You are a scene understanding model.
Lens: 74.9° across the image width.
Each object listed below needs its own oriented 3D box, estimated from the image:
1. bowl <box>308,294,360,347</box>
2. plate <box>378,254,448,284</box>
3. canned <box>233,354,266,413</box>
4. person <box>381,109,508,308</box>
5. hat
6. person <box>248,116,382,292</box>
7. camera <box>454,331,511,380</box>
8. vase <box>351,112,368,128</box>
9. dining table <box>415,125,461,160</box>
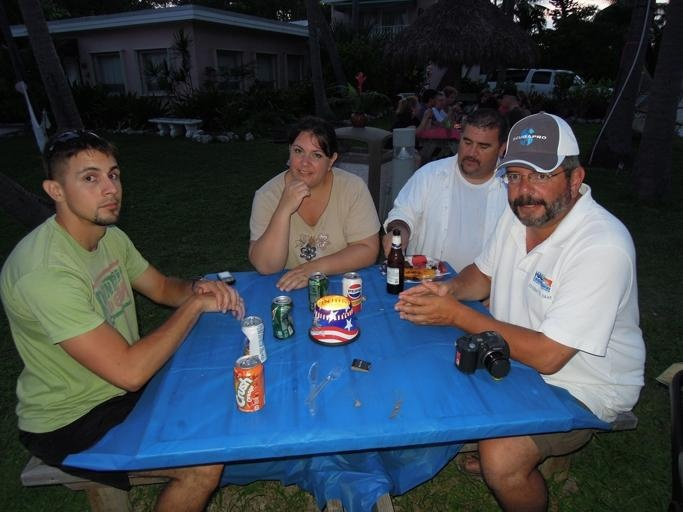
[{"bbox_3d":[-0.058,0.323,2.479,0.263,0.245,0.347,-2,16,-14],"label":"bowl"},{"bbox_3d":[0.600,0.088,3.198,0.288,0.049,0.285,2,22,5],"label":"plate"},{"bbox_3d":[-0.412,0.580,2.043,0.136,0.212,0.183,4,20,12],"label":"canned"},{"bbox_3d":[0.899,-0.466,4.108,0.823,1.652,0.779,-3,19,-13],"label":"person"},{"bbox_3d":[1.181,-0.652,2.627,0.471,0.278,0.340,-27,23,-29],"label":"hat"},{"bbox_3d":[-0.223,-0.424,3.326,0.991,1.139,0.794,-15,26,-30],"label":"person"},{"bbox_3d":[0.695,0.473,2.202,0.237,0.155,0.201,-3,27,-7],"label":"camera"},{"bbox_3d":[0.256,-2.014,6.542,0.236,0.192,0.236,0,1,7],"label":"vase"},{"bbox_3d":[1.783,-2.143,8.325,0.761,0.516,1.075,-6,30,-1],"label":"dining table"}]
